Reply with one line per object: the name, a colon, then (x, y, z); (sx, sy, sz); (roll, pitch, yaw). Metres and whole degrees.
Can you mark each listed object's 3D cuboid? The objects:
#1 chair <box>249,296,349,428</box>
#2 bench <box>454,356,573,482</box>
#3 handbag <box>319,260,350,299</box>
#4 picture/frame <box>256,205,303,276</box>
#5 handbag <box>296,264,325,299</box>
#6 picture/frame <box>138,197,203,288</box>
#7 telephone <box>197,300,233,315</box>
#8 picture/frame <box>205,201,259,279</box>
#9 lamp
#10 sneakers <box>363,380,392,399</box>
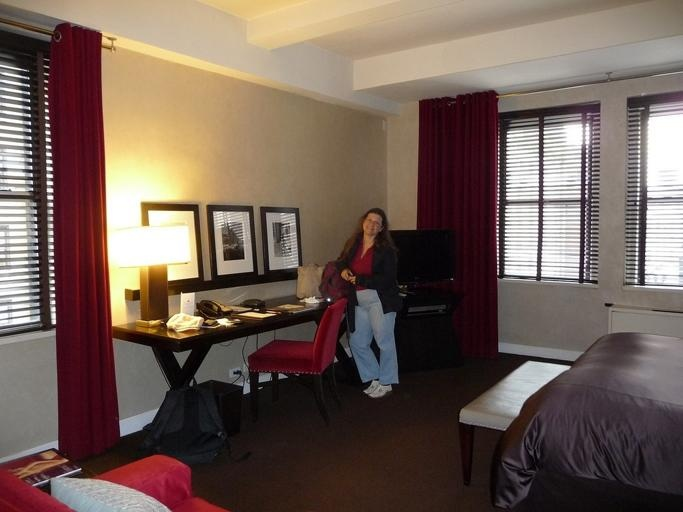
chair: (-0.384, 0.893, 4.500); (0.872, 0.978, 0.793); (1, 0, 30)
bench: (1.159, 0.823, 3.447); (0.650, 0.581, 1.231); (2, 7, 33)
handbag: (-0.090, 0.236, 5.103); (0.271, 0.352, 0.111); (2, -9, -6)
picture/frame: (-0.648, -0.164, 5.171); (0.028, 0.839, 0.687); (-2, 0, 35)
handbag: (-0.312, 0.258, 5.130); (0.172, 0.321, 0.314); (5, 5, 45)
picture/frame: (-1.391, -0.114, 4.094); (0.039, 0.983, 0.685); (3, 7, 40)
telephone: (-1.088, 0.439, 4.314); (0.156, 0.096, 0.169); (-1, 0, -1)
picture/frame: (-1.043, -0.153, 4.753); (0.068, 0.983, 0.674); (-1, 2, 38)
lamp: (-1.443, 0.134, 3.889); (0.562, 0.747, 0.284); (-4, 10, -26)
sneakers: (0.352, 1.272, 4.886); (0.202, 0.079, 0.138); (2, -4, -15)
